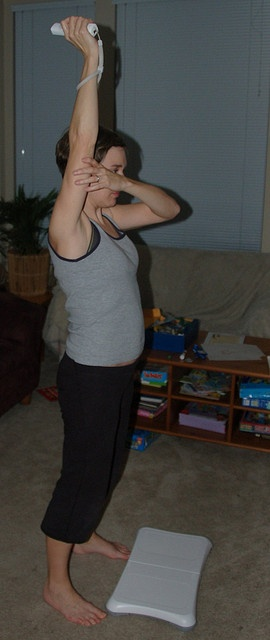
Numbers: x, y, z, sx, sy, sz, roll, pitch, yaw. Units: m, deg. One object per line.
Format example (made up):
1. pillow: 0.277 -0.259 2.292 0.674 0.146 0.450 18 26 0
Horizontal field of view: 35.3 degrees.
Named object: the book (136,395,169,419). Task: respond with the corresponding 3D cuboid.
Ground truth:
1. book: 0.086 0.459 2.253 0.114 0.062 0.172 5 2 12
